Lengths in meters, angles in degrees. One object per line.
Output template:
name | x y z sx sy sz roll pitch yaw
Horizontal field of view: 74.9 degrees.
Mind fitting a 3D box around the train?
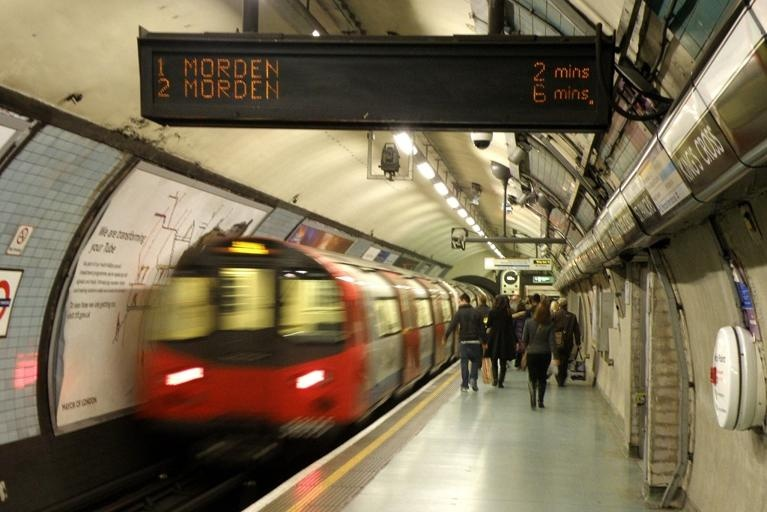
train | -1.096 1.686 10.216 2.514 4.115 6.097 -5 -14 26
